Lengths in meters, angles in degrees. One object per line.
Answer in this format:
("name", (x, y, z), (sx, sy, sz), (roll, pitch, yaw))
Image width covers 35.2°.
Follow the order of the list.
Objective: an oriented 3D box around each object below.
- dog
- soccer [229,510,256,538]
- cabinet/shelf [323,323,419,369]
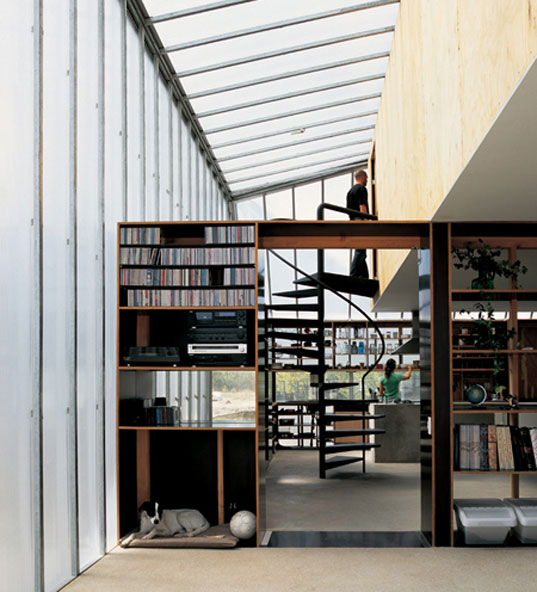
("dog", (-0.787, 1.738, 6.591), (0.686, 0.280, 0.459), (-1, -7, -9))
("soccer", (-0.195, 1.726, 6.424), (0.209, 0.203, 0.147), (-3, -6, 6))
("cabinet/shelf", (1.665, 0.803, 14.492), (1.111, 0.822, 0.216), (-5, 7, 25))
